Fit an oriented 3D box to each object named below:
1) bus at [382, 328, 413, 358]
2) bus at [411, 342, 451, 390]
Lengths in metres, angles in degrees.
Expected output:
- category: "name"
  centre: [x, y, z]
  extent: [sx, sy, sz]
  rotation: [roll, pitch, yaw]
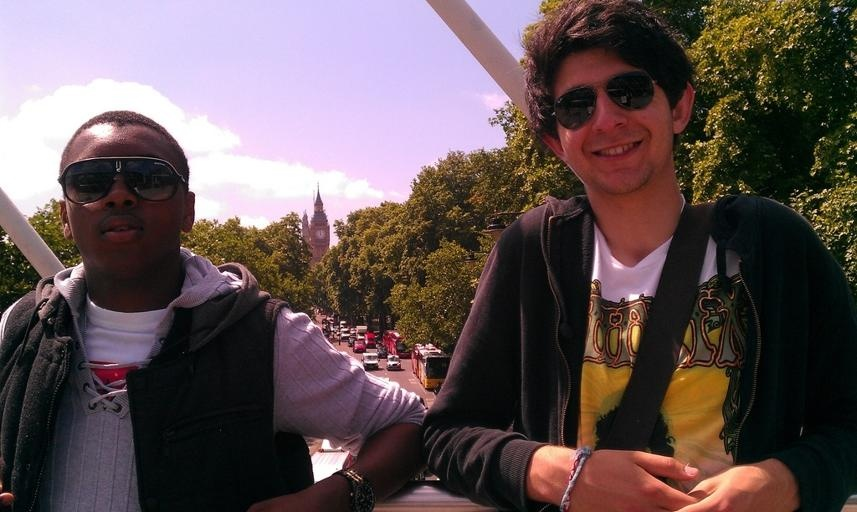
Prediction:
- category: "bus"
  centre: [-2.403, 7.030, 52.944]
  extent: [1.406, 1.433, 5.373]
  rotation: [-2, 0, -8]
- category: "bus"
  centre: [0.132, 5.820, 36.462]
  extent: [1.798, 2.010, 6.879]
  rotation: [0, 3, -7]
